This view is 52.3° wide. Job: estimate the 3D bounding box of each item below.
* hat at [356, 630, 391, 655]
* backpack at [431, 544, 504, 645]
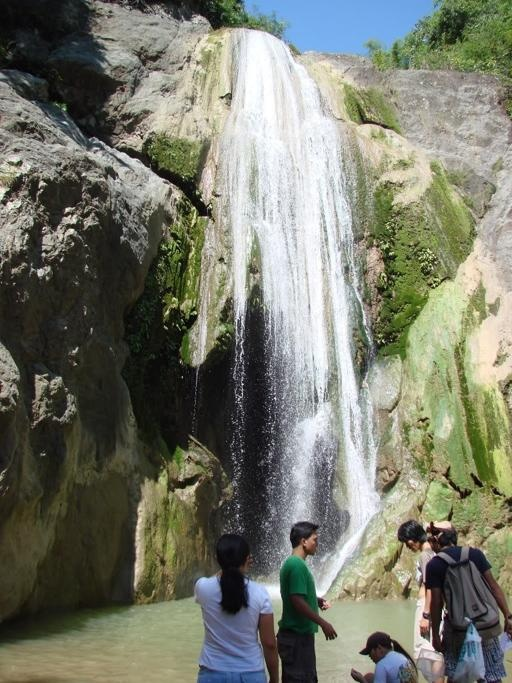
[{"bbox_3d":[0.601,1.522,2.672,0.155,0.120,0.110,-12,-19,9],"label":"hat"},{"bbox_3d":[1.058,1.302,2.688,0.329,0.436,0.188,-9,-20,20],"label":"backpack"}]
